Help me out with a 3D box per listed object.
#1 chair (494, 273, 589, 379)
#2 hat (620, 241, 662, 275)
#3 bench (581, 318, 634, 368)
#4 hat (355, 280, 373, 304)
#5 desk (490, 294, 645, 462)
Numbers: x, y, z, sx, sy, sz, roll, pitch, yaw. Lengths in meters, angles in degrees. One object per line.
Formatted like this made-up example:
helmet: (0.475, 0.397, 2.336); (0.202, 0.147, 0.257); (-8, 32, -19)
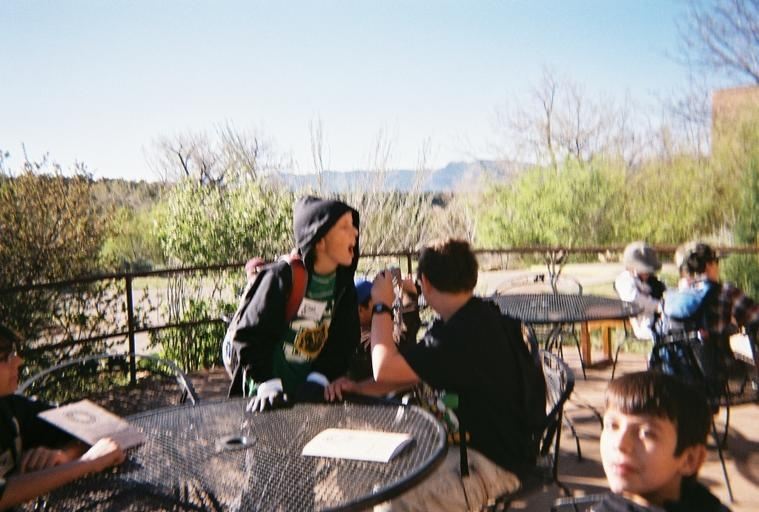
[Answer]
chair: (1.637, 0.554, 5.194); (1.113, 0.754, 1.138); (-5, 2, -35)
hat: (2.737, 0.032, 5.253); (0.267, 0.223, 0.363); (15, 25, 37)
bench: (2.819, 1.085, 6.178); (0.503, 0.610, 0.547); (-3, -7, 0)
hat: (-0.120, 0.267, 3.850); (0.141, 0.168, 0.150); (-1, 5, -23)
desk: (2.054, 1.199, 5.268); (1.217, 1.007, 1.360); (-8, 13, -21)
